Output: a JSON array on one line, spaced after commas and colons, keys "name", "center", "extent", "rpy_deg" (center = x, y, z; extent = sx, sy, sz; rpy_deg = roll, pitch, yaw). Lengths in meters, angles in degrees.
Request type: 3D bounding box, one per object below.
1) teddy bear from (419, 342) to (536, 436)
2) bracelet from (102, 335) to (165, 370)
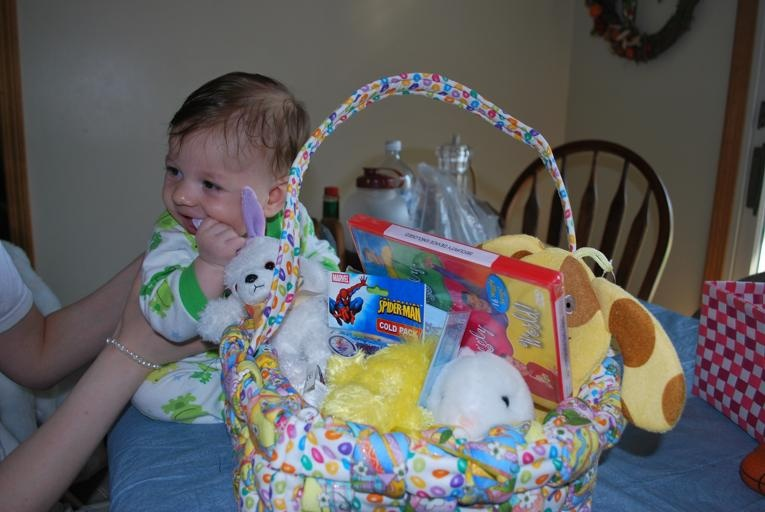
[{"name": "teddy bear", "center": [0.165, 0.228, 0.990], "extent": [0.153, 0.133, 0.124], "rpy_deg": [-5, 9, 29]}, {"name": "bracelet", "center": [-0.569, 0.218, 1.287], "extent": [0.091, 0.021, 0.073], "rpy_deg": [35, 8, -27]}]
